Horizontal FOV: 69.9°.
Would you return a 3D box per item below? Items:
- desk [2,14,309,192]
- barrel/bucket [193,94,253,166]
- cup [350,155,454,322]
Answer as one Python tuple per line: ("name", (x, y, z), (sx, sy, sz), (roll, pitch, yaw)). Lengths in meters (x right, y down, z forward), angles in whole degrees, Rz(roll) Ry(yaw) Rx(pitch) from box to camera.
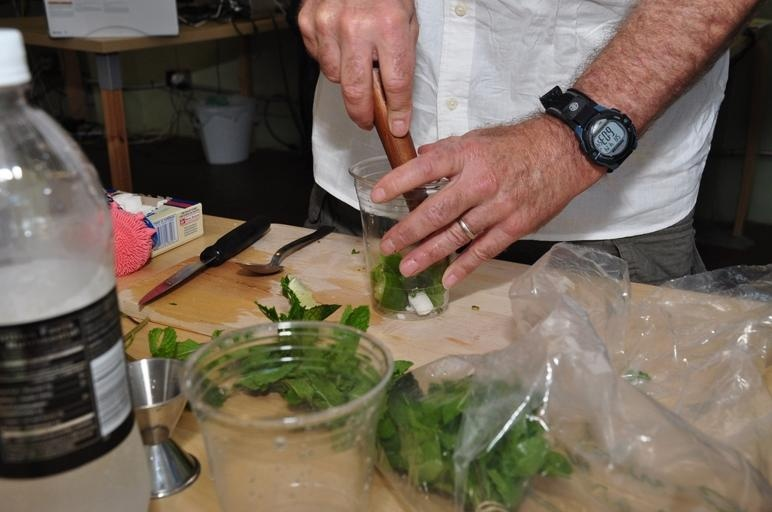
("desk", (-0.760, -0.581, 2.178), (0.914, 0.535, 1.120), (-18, 34, -34))
("barrel/bucket", (-0.833, -0.651, 2.939), (0.316, 0.307, 0.286), (-8, 18, -7))
("cup", (0.049, -0.022, 1.019), (0.205, 0.255, 0.201), (-2, 13, 1))
